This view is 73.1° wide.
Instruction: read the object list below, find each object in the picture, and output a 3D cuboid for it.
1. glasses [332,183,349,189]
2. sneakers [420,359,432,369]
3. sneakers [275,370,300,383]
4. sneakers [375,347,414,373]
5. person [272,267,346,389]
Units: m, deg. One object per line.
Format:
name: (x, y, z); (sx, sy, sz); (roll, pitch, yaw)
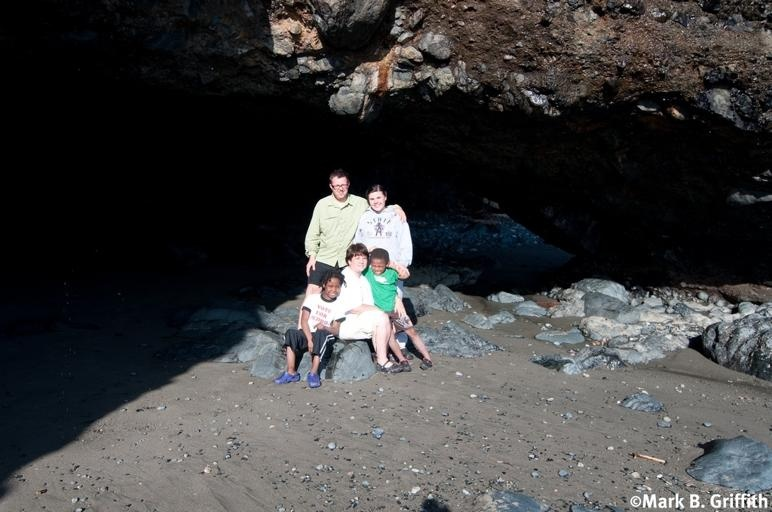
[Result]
glasses: (-0.613, -0.956, 7.149); (0.228, 0.072, 0.163); (-4, 21, -12)
sneakers: (0.551, 1.417, 6.800); (0.190, 0.113, 0.115); (-4, 22, -13)
sneakers: (-1.213, 1.523, 6.546); (0.343, 0.121, 0.109); (0, -1, -8)
sneakers: (0.114, 1.389, 6.742); (0.451, 0.168, 0.249); (-9, -9, 43)
person: (-0.918, 0.866, 6.527); (0.635, 1.344, 0.866); (7, 23, 14)
